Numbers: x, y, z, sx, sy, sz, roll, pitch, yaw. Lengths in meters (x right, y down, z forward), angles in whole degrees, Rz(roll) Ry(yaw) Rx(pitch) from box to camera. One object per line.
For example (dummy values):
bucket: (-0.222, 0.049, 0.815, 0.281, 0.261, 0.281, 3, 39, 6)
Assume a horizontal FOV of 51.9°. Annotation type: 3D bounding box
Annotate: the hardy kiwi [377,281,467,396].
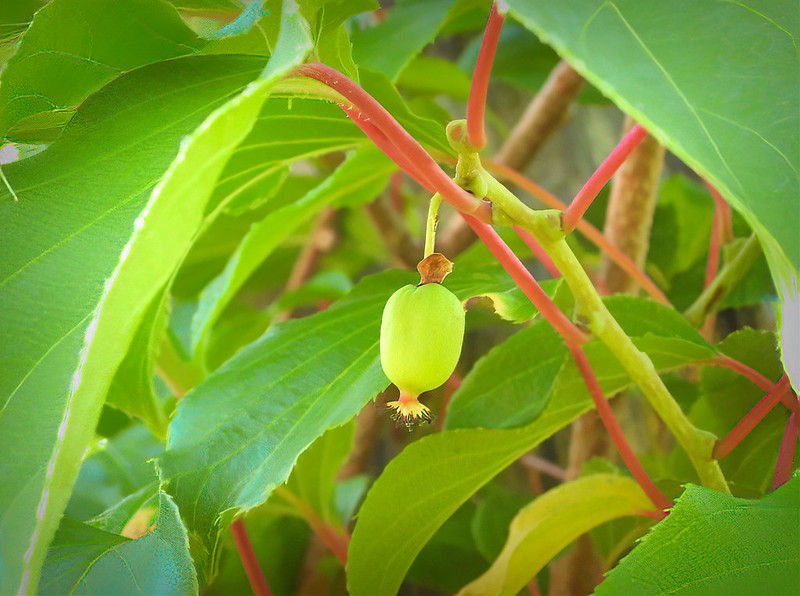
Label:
hardy kiwi: (0.014, 0.026, 0.537, 0.051, 0.089, 0.061, 9, 8, 18)
